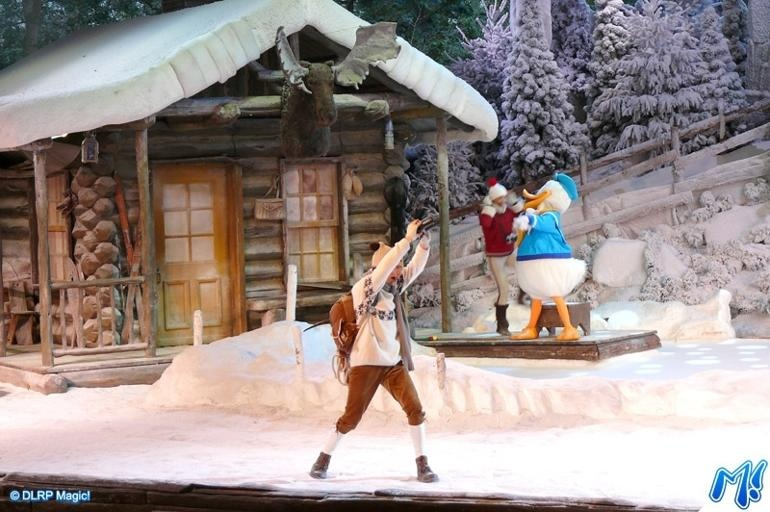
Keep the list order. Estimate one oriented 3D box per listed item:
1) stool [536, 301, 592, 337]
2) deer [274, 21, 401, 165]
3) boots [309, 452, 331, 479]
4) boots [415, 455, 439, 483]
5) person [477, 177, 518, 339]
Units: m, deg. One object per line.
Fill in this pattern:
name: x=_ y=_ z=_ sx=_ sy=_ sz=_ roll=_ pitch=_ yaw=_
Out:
stool: x=2.894 y=1.028 z=13.724 sx=0.629 sy=0.477 sz=0.649 roll=0 pitch=-4 yaw=-20
deer: x=-1.072 y=-2.530 z=13.144 sx=2.246 sy=2.138 sz=1.098 roll=-12 pitch=30 yaw=-34
boots: x=-0.756 y=2.447 z=9.836 sx=0.270 sy=0.295 sz=0.207 roll=0 pitch=-8 yaw=-23
boots: x=0.478 y=2.456 z=9.700 sx=0.236 sy=0.296 sz=0.159 roll=-3 pitch=-8 yaw=-1
person: x=1.907 y=0.014 z=14.277 sx=0.703 sy=2.550 sz=0.679 roll=0 pitch=-9 yaw=-1
